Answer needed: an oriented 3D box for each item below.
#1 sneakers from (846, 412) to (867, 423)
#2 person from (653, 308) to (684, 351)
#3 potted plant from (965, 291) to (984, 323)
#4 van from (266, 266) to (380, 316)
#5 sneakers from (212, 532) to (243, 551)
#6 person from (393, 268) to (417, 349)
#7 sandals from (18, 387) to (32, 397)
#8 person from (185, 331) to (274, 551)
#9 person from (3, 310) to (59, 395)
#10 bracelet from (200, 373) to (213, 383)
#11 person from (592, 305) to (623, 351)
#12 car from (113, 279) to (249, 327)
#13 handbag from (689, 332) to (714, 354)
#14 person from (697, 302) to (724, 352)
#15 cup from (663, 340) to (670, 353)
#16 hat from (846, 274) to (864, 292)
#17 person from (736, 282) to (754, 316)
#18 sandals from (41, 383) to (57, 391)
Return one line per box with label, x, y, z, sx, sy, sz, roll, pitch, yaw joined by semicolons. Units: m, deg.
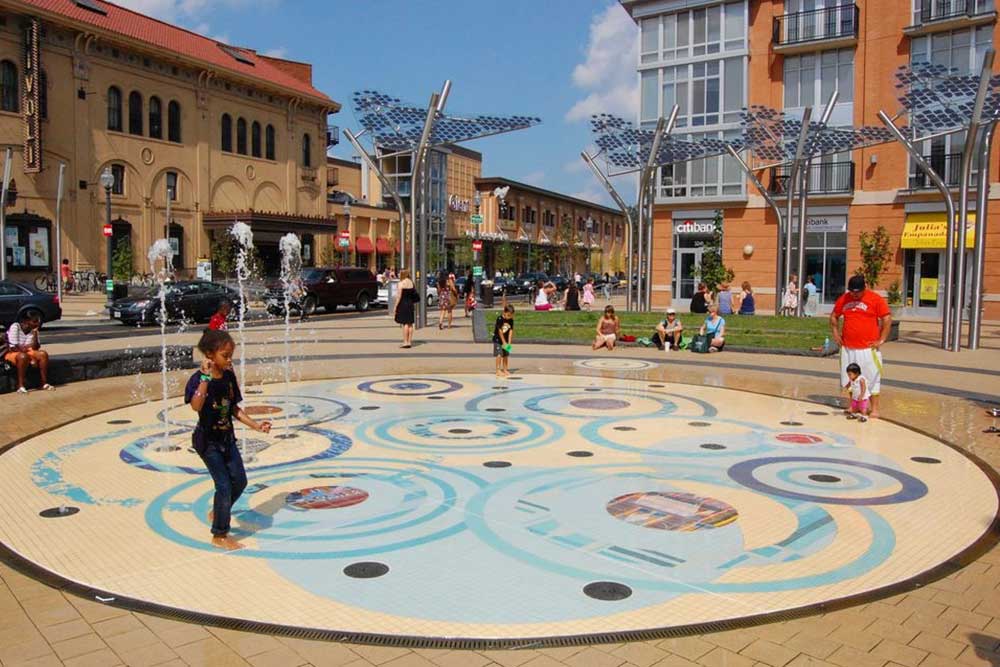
sneakers;5.886;1.392;12.633;0.238;0.085;0.140;-6;9;-9
person;4.778;-0.136;21.458;0.732;1.036;1.157;4;14;21
potted plant;13.124;-0.748;21.108;0.281;1.008;0.728;3;9;25
van;-8.050;-1.966;35.918;2.374;1.649;4.369;1;2;35
sneakers;-2.780;2.114;7.834;0.288;0.255;0.142;4;4;3
person;-2.639;-0.713;21.695;0.540;2.198;1.395;-2;9;-6
sandals;-8.884;1.080;14.255;0.225;0.092;0.099;2;1;31
person;-2.815;1.053;7.768;0.564;2.205;0.675;2;9;18
person;-8.898;0.396;14.415;0.757;1.413;0.692;-8;11;-40
bracelet;-2.873;0.441;7.452;0.082;0.053;0.078;0;0;3
person;2.978;-0.196;21.593;0.684;1.323;1.816;0;9;7
car;-12.048;-1.138;28.784;1.757;1.571;4.191;4;10;31
handbag;5.570;0.256;20.810;0.454;0.578;0.630;-2;-4;40
person;5.757;-0.165;21.032;0.921;1.186;0.901;-1;14;19
cup;4.604;0.342;21.059;0.188;0.225;0.603;1;9;12
hat;5.715;-0.819;12.241;0.285;0.177;0.380;7;32;35
person;9.733;-1.397;30.144;0.442;1.234;2.387;2;9;16
sandals;-8.724;1.040;14.716;0.124;0.079;0.309;-5;8;-41
